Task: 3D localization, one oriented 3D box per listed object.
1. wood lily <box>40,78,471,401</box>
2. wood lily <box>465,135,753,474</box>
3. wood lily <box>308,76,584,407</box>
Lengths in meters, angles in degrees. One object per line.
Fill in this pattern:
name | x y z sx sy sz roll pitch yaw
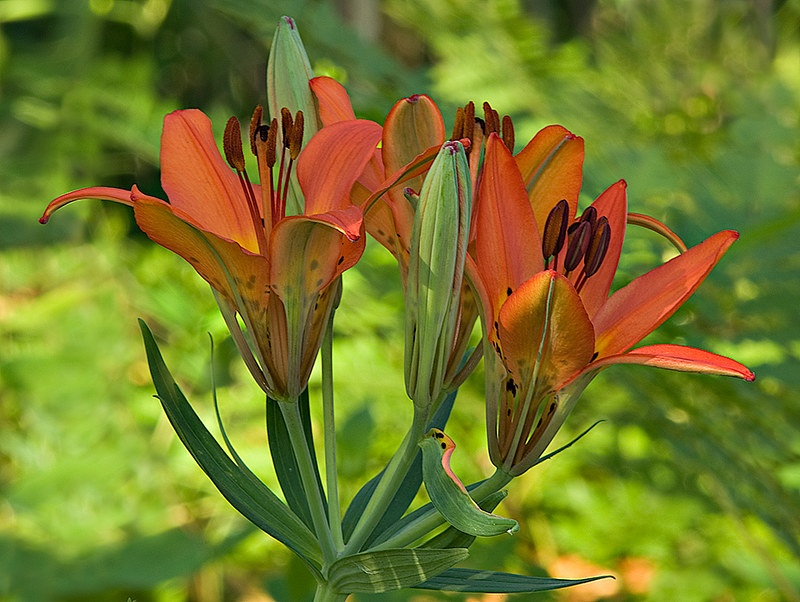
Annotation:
wood lily | -0.159 -0.102 1.156 0.464 0.334 0.443 6 11 23
wood lily | 0.198 -0.027 1.269 0.387 0.322 0.434 29 1 -36
wood lily | 0.085 -0.070 1.278 0.397 0.303 0.393 1 -9 19
